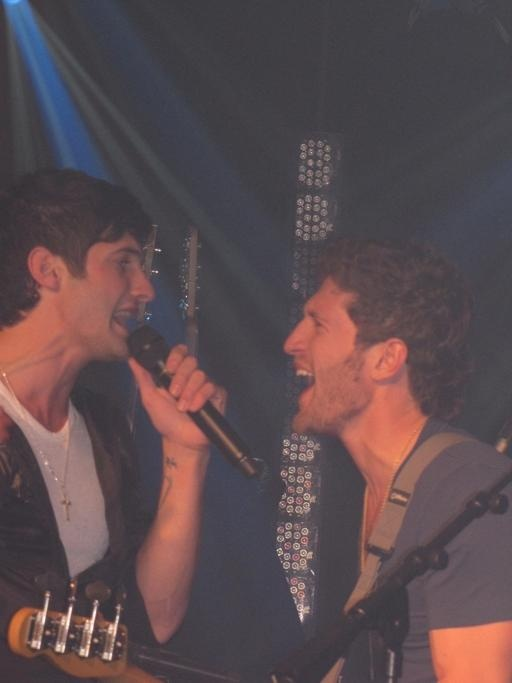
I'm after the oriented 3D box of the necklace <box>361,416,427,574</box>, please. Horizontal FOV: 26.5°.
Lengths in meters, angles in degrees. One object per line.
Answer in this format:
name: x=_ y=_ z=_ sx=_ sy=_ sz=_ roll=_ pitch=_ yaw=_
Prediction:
necklace: x=0.405 y=0.451 z=3.375 sx=0.028 sy=0.543 sz=0.157 roll=21 pitch=-11 yaw=-21
